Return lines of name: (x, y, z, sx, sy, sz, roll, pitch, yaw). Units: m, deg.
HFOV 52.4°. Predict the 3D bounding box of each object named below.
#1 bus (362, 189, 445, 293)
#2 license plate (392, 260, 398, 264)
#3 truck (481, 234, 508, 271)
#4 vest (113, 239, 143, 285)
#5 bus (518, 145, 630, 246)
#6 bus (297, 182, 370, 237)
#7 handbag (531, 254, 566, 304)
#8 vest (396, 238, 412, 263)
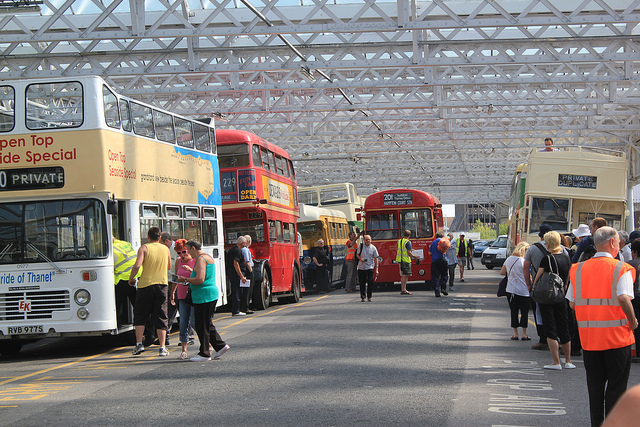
bus: (3.534, 0.783, 28.296, 2.289, 2.831, 5.842, -1, -4, 12)
license plate: (3.206, 2.030, 27.957, 0.257, 0.171, 0.139, 1, 7, 3)
truck: (12.662, 2.770, 46.946, 1.855, 1.937, 3.875, -4, -8, 27)
vest: (-4.162, 1.019, 13.749, 0.565, 0.883, 0.673, -20, 4, 5)
bus: (8.774, -0.837, 23.967, 3.041, 3.231, 5.139, 1, 2, 4)
bus: (0.978, -0.249, 38.317, 2.721, 1.891, 3.689, -3, -6, 14)
handbag: (4.152, 1.172, 11.813, 0.420, 0.886, 0.613, 8, -10, -24)
vest: (3.105, 1.378, 24.415, 0.415, 0.923, 0.610, -1, -4, -16)
